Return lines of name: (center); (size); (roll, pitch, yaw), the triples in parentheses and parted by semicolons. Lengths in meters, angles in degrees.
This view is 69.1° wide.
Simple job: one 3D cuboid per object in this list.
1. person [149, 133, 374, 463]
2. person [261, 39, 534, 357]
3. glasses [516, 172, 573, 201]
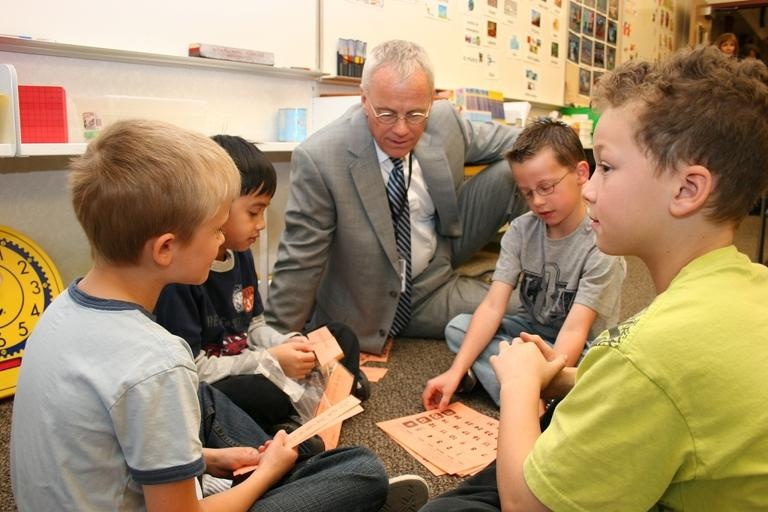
person: (-0.343, 0.010, 2.059); (0.808, 1.132, 0.731); (-4, 13, -11)
person: (0.007, -0.218, 2.313); (1.267, 0.932, 0.645); (-26, 44, -29)
glasses: (0.533, -0.250, 1.871); (0.095, 0.028, 0.091); (-34, 12, -27)
